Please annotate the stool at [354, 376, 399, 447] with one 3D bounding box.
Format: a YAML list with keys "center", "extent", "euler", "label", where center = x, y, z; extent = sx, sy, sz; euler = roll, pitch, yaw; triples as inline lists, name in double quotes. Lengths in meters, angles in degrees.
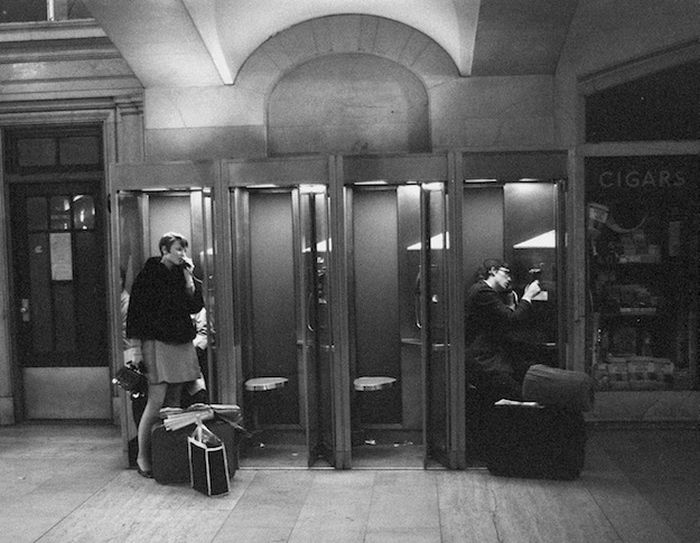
- center: [0.177, 0.836, 4.874]
  extent: [0.291, 0.230, 0.316]
  euler: [-2, 4, 2]
  label: "stool"

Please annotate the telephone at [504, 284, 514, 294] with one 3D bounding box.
- center: [0.969, 0.111, 4.345]
  extent: [0.040, 0.049, 0.052]
  euler: [-2, -23, 9]
  label: "telephone"

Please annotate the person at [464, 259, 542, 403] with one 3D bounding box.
- center: [0.869, 0.344, 4.172]
  extent: [0.444, 0.775, 0.484]
  euler: [0, 5, 19]
  label: "person"

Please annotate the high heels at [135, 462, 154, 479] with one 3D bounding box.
- center: [-1.314, 1.260, 4.522]
  extent: [0.166, 0.064, 0.056]
  euler: [1, -4, 44]
  label: "high heels"

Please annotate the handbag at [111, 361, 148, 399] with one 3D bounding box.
- center: [-1.391, 0.663, 4.500]
  extent: [0.179, 0.171, 0.105]
  euler: [31, 3, -15]
  label: "handbag"

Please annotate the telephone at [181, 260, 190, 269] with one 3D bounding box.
- center: [-1.057, -0.042, 4.617]
  extent: [0.047, 0.078, 0.045]
  euler: [1, -2, 4]
  label: "telephone"

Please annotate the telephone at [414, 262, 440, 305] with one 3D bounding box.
- center: [0.482, 0.075, 4.663]
  extent: [0.114, 0.253, 0.335]
  euler: [-3, 4, -8]
  label: "telephone"

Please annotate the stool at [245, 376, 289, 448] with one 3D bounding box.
- center: [-0.566, 0.978, 4.940]
  extent: [0.301, 0.491, 0.301]
  euler: [-2, 4, -5]
  label: "stool"

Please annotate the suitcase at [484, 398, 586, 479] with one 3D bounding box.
- center: [0.658, 0.557, 2.479]
  extent: [0.398, 0.262, 0.259]
  euler: [-10, -1, 35]
  label: "suitcase"
